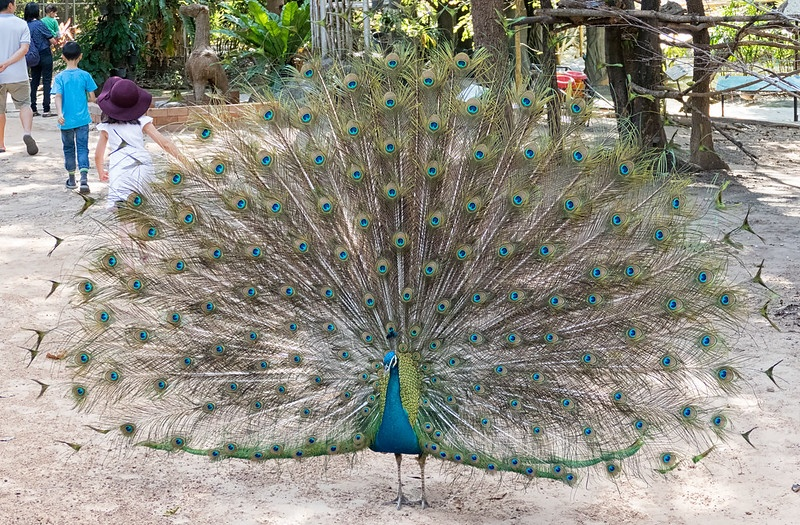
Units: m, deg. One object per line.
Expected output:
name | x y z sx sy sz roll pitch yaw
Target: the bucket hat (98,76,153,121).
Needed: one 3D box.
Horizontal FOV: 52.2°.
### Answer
bucket hat | -3.144 -1.889 9.359 0.588 0.606 0.204 -9 -13 -9
